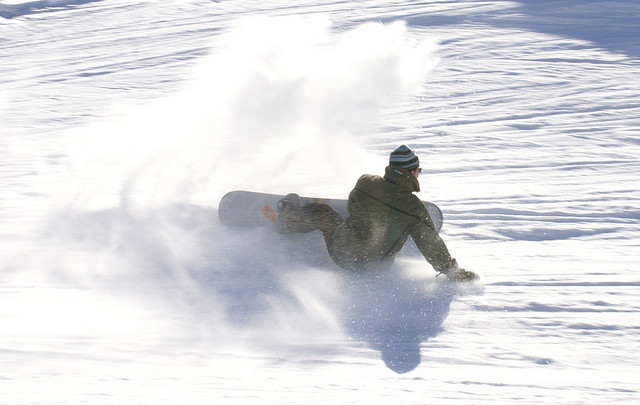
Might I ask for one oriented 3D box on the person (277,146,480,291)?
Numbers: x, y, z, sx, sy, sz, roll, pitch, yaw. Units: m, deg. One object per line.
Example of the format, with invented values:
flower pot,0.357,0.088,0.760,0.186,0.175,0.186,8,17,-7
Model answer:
person,0.654,0.271,14.902,2.084,0.946,1.816,-12,66,-1
